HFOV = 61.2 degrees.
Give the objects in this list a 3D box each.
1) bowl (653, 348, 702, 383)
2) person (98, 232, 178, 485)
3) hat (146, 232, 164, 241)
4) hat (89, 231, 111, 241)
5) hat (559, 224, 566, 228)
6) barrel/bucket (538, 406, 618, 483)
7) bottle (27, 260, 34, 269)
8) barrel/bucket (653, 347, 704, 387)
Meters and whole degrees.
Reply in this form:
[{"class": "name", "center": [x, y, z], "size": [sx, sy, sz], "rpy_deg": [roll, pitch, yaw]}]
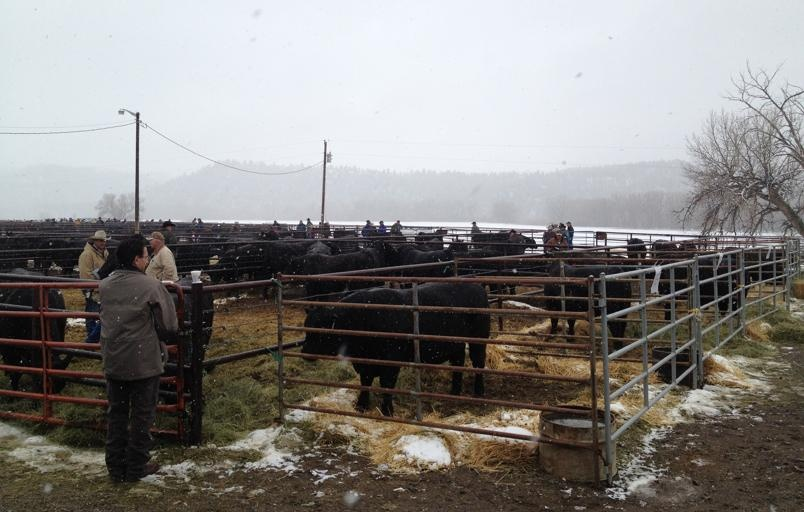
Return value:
[{"class": "bowl", "center": [4.148, 1.698, 10.386], "size": [0.622, 0.530, 0.706], "rpy_deg": [1, -4, -16]}, {"class": "person", "center": [-3.183, 1.213, 8.230], "size": [0.831, 2.858, 0.605], "rpy_deg": [-3, 8, -21]}, {"class": "hat", "center": [-5.393, -0.427, 14.889], "size": [0.394, 0.214, 0.298], "rpy_deg": [7, 6, 15]}, {"class": "hat", "center": [-7.435, -0.503, 16.829], "size": [0.378, 0.177, 0.442], "rpy_deg": [1, -1, -13]}, {"class": "hat", "center": [6.812, -1.296, 28.775], "size": [0.371, 0.221, 0.534], "rpy_deg": [0, 3, 10]}, {"class": "barrel/bucket", "center": [2.061, 2.295, 8.079], "size": [0.799, 0.573, 0.862], "rpy_deg": [0, -1, 0]}, {"class": "bottle", "center": [-9.266, 0.199, 17.048], "size": [0.194, 0.273, 0.190], "rpy_deg": [4, 13, -1]}, {"class": "barrel/bucket", "center": [4.180, 1.717, 10.389], "size": [0.652, 0.560, 0.762], "rpy_deg": [0, -2, -26]}]
